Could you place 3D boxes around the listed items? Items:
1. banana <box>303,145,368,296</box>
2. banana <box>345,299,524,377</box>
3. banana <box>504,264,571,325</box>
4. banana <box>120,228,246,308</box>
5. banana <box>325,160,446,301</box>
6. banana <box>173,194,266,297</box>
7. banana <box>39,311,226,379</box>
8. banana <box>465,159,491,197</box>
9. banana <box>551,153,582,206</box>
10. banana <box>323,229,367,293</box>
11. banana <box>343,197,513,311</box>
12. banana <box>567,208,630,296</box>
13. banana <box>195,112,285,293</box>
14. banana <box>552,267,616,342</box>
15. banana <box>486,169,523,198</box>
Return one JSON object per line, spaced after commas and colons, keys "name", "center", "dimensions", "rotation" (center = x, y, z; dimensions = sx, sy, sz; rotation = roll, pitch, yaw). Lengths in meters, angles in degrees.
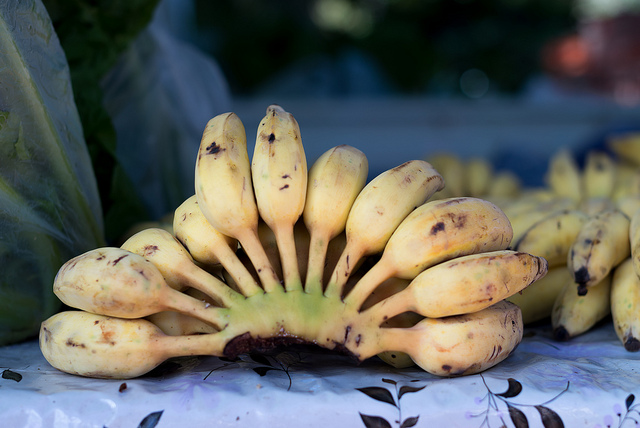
{"name": "banana", "center": [0.027, -0.013, 1.434], "dimensions": [0.096, 0.375, 0.101], "rotation": [3, -15, 20]}
{"name": "banana", "center": [0.252, 0.262, 1.344], "dimensions": [0.296, 0.084, 0.162], "rotation": [-13, -13, 3]}
{"name": "banana", "center": [0.508, 0.197, 1.488], "dimensions": [0.208, 0.056, 0.069], "rotation": [-30, 0, -33]}
{"name": "banana", "center": [-0.315, 0.125, 1.368], "dimensions": [0.099, 0.104, 0.343], "rotation": [-12, 9, 39]}
{"name": "banana", "center": [0.147, 0.011, 1.457], "dimensions": [0.101, 0.139, 0.519], "rotation": [25, 31, 19]}
{"name": "banana", "center": [-0.212, 0.062, 1.445], "dimensions": [0.103, 0.278, 0.134], "rotation": [-44, -14, -20]}
{"name": "banana", "center": [-0.415, 0.272, 1.377], "dimensions": [0.430, 0.147, 0.147], "rotation": [1, -7, -6]}
{"name": "banana", "center": [0.551, -0.123, 2.221], "dimensions": [0.081, 0.145, 0.155], "rotation": [0, -3, 21]}
{"name": "banana", "center": [0.844, -0.118, 2.170], "dimensions": [0.055, 0.167, 0.082], "rotation": [16, -33, -34]}
{"name": "banana", "center": [0.042, 0.105, 1.383], "dimensions": [0.081, 0.134, 0.033], "rotation": [35, -10, -11]}
{"name": "banana", "center": [0.248, 0.059, 1.429], "dimensions": [0.453, 0.158, 0.234], "rotation": [-13, 8, -20]}
{"name": "banana", "center": [0.674, 0.072, 1.541], "dimensions": [0.095, 0.101, 0.272], "rotation": [16, 38, 33]}
{"name": "banana", "center": [-0.174, -0.012, 1.367], "dimensions": [0.104, 0.393, 0.081], "rotation": [-33, -14, 39]}
{"name": "banana", "center": [0.668, 0.252, 1.596], "dimensions": [0.114, 0.114, 0.365], "rotation": [-36, -5, 29]}
{"name": "banana", "center": [0.643, -0.091, 2.248], "dimensions": [0.123, 0.098, 0.046], "rotation": [-28, -23, -13]}
